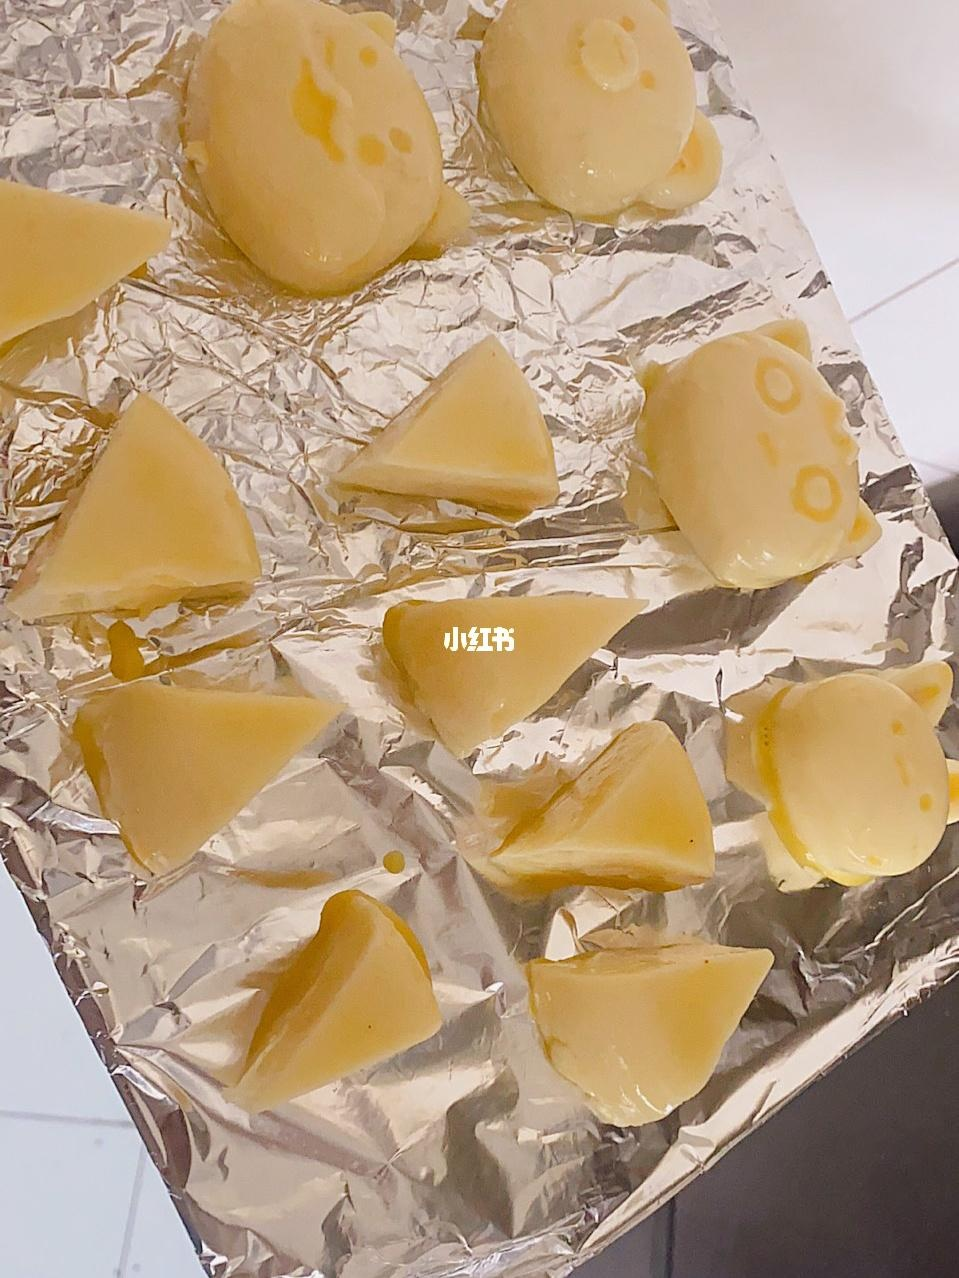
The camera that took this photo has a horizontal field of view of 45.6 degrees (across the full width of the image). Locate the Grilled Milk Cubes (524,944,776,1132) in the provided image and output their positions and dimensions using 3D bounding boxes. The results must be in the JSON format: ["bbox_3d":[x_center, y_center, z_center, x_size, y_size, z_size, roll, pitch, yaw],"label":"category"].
[{"bbox_3d":[0.125,0.250,0.766,0.175,0.049,0.121,-13,62,-16],"label":"Grilled Milk Cubes"}]

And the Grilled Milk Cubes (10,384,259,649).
[{"bbox_3d":[-0.218,-0.064,0.714,0.114,0.119,0.140,38,46,19],"label":"Grilled Milk Cubes"}]

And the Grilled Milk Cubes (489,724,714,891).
[{"bbox_3d":[0.098,0.128,0.784,0.144,0.039,0.126,-27,20,-27],"label":"Grilled Milk Cubes"}]

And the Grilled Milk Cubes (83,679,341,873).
[{"bbox_3d":[-0.183,0.083,0.705,0.168,0.037,0.133,9,47,13],"label":"Grilled Milk Cubes"}]

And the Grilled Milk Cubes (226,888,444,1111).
[{"bbox_3d":[-0.101,0.220,0.711,0.125,0.077,0.106,-11,50,-28],"label":"Grilled Milk Cubes"}]
